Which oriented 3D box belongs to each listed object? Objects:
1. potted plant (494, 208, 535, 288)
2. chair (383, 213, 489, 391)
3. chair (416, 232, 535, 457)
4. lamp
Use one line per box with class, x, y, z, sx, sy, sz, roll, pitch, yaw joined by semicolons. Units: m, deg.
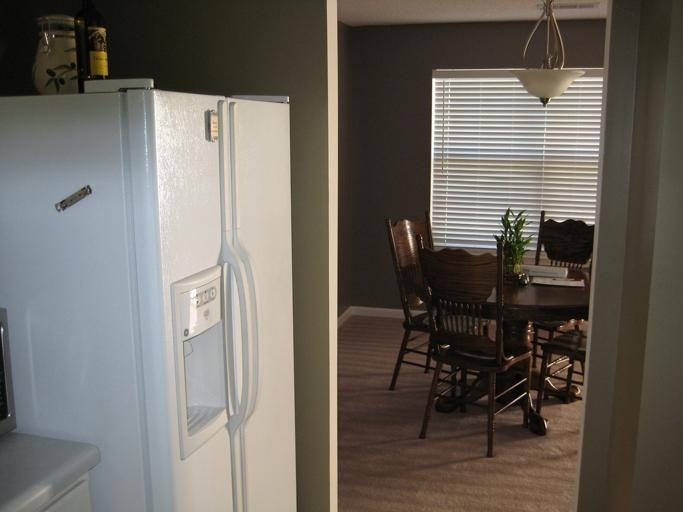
potted plant;1.123;-0.034;3.949;0.269;0.503;0.251;6;-11;-43
chair;0.638;0.368;4.063;0.587;1.192;0.617;-4;5;-17
chair;0.843;0.528;3.542;0.596;1.323;0.667;2;12;28
lamp;1.594;-1.569;4.426;0.456;0.814;2.272;3;13;19
